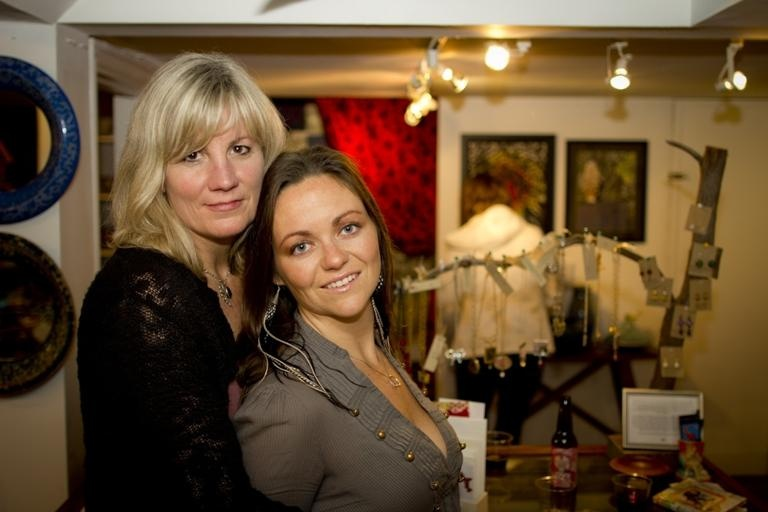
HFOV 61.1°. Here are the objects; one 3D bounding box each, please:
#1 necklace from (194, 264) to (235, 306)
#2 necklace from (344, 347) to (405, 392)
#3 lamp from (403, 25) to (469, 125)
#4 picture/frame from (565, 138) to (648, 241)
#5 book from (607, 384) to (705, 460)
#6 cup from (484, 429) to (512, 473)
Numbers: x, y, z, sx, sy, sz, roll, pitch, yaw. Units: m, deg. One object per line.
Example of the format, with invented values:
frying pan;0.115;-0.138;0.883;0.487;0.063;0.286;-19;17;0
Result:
necklace;-0.602;0.108;2.294;0.026;0.181;0.153;-37;-10;26
necklace;-0.034;0.424;2.291;0.152;0.036;0.145;32;-1;9
lamp;0.233;-0.837;3.062;0.306;0.143;0.487;-1;-34;-8
picture/frame;1.068;-0.331;3.091;0.515;0.643;0.032;0;2;2
book;1.249;0.763;3.008;0.399;0.267;0.099;0;2;8
cup;0.520;0.919;3.036;0.163;0.215;0.147;0;-4;-1
